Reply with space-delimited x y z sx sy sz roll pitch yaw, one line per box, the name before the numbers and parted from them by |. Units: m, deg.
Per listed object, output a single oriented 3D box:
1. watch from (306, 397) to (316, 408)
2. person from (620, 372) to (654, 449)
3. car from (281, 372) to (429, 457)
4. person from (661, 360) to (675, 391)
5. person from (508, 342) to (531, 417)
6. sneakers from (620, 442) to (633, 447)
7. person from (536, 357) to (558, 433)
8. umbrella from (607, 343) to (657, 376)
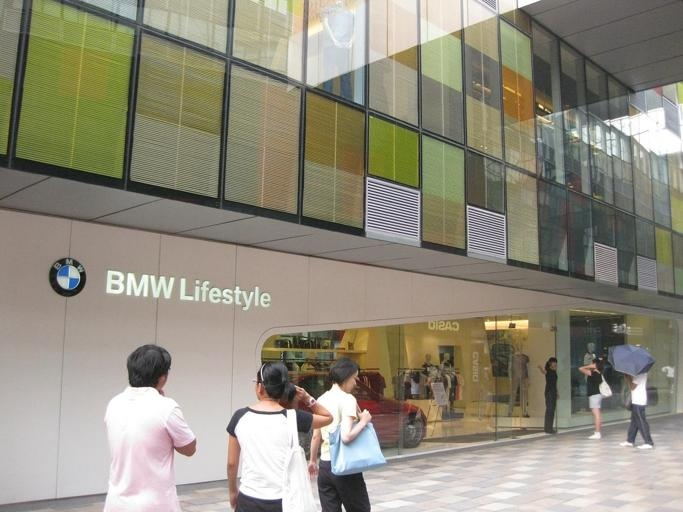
watch | -0.275 1.333 5.201 0.067 0.102 0.095 32 -58 -26
person | 7.958 4.162 15.426 0.729 1.972 1.476 -3 -10 27
car | 0.476 3.391 13.401 3.260 1.797 1.527 6 6 -24
person | 14.533 5.362 25.296 0.233 1.003 1.329 -6 -11 40
person | 5.172 3.665 16.623 0.300 2.045 1.222 -5 -10 34
sneakers | 7.705 5.133 15.470 0.238 0.113 0.137 0 -12 25
person | 6.417 4.348 17.634 0.431 2.356 0.983 -2 -9 22
umbrella | 7.746 2.802 15.281 1.160 0.460 1.188 -16 19 -35
